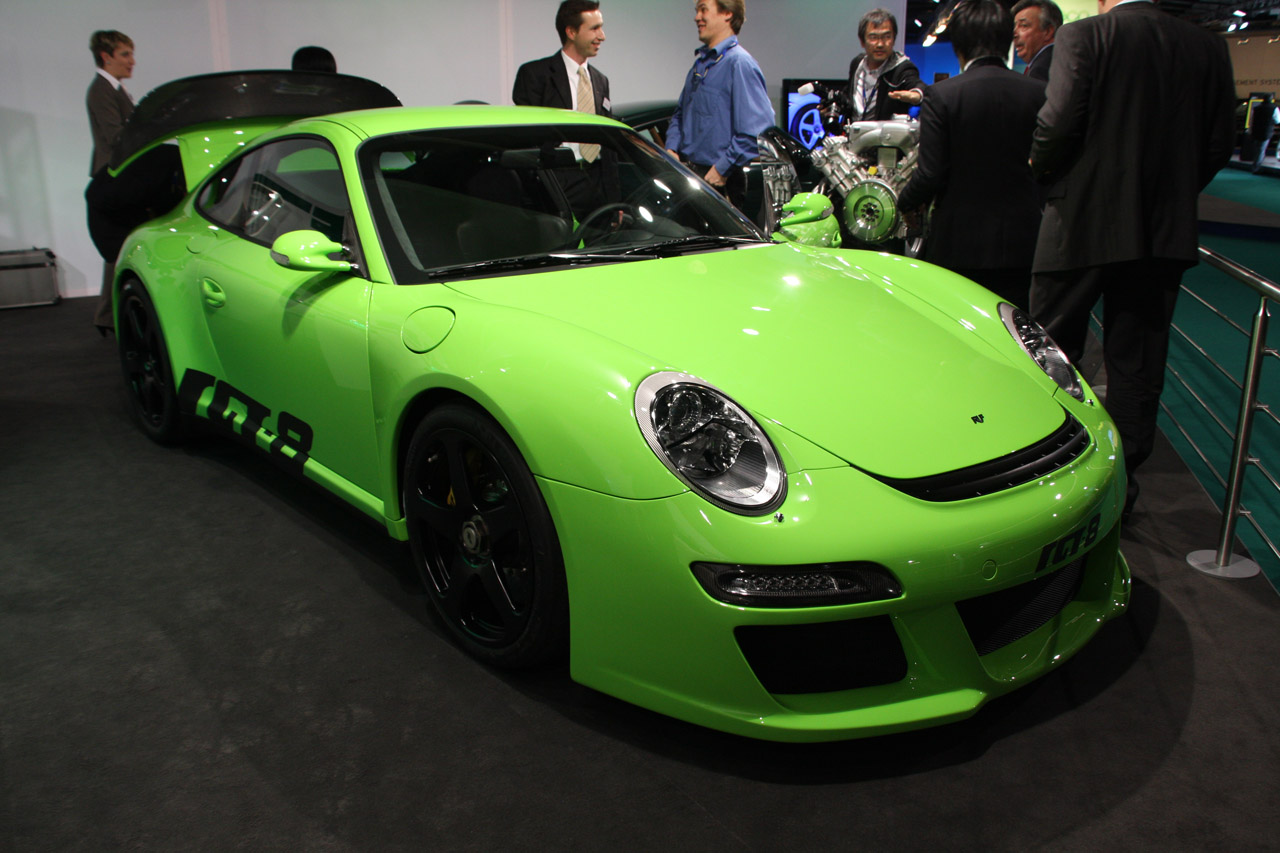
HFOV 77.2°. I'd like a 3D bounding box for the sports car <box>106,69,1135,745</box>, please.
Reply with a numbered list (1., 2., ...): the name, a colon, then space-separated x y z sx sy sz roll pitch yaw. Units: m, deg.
1. sports car: -0.513 -0.288 3.130 1.973 1.236 3.845 -20 33 -37
